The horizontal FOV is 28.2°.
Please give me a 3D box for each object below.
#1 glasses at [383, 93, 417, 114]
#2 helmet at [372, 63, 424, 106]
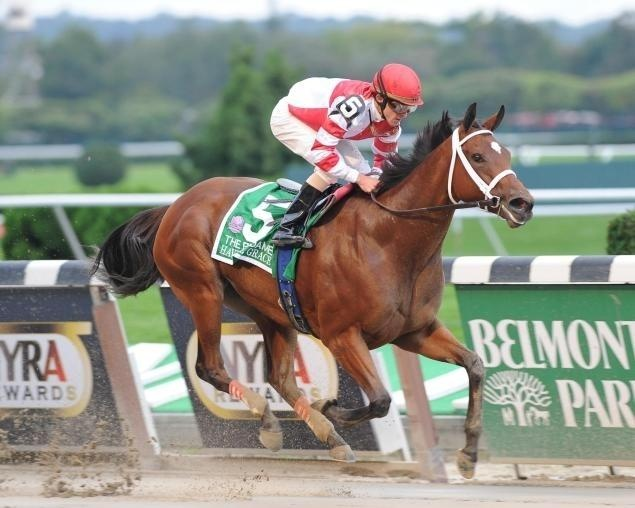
[{"bbox_3d":[0.541,-0.987,8.363,0.168,0.051,0.132,17,-1,43],"label":"glasses"},{"bbox_3d":[0.563,-1.131,8.385,0.365,0.163,0.249,22,27,21],"label":"helmet"}]
